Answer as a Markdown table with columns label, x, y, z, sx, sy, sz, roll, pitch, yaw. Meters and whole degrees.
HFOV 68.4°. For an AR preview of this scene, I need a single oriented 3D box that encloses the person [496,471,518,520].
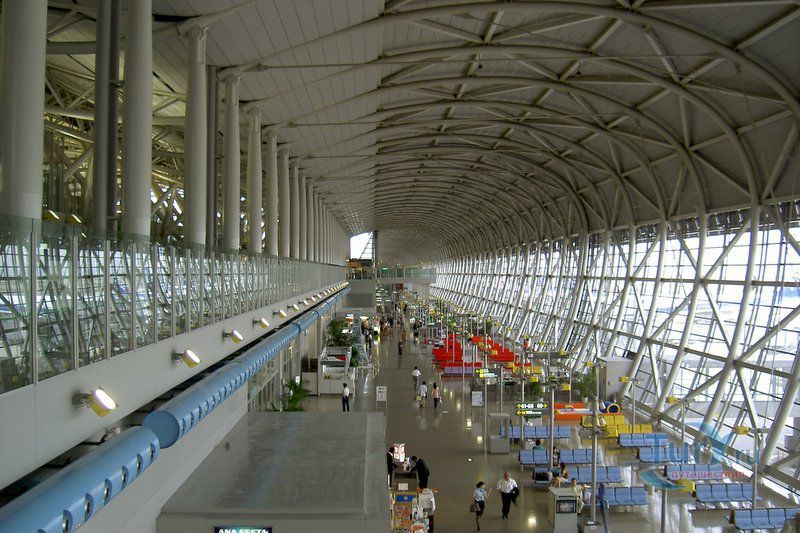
| label | x | y | z | sx | sy | sz | roll | pitch | yaw |
| --- | --- | --- | --- | --- | --- | --- | --- | --- | --- |
| person | 3.634 | 7.726 | 19.870 | 0.696 | 0.472 | 1.508 | 4 | -85 | 30 |

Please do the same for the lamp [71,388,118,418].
| label | x | y | z | sx | sy | sz | roll | pitch | yaw |
| --- | --- | --- | --- | --- | --- | --- | --- | --- | --- |
| lamp | -4.905 | 2.179 | 9.484 | 0.514 | 0.190 | 0.359 | 5 | -30 | 49 |

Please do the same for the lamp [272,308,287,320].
| label | x | y | z | sx | sy | sz | roll | pitch | yaw |
| --- | --- | --- | --- | --- | --- | --- | --- | --- | --- |
| lamp | -4.204 | 1.655 | 20.438 | 0.660 | 0.243 | 0.478 | -5 | -10 | 41 |

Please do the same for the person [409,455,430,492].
| label | x | y | z | sx | sy | sz | roll | pitch | yaw |
| --- | --- | --- | --- | --- | --- | --- | --- | --- | --- |
| person | 0.729 | 7.452 | 21.232 | 0.665 | 0.498 | 1.281 | -11 | -88 | -10 |

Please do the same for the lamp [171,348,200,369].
| label | x | y | z | sx | sy | sz | roll | pitch | yaw |
| --- | --- | --- | --- | --- | --- | --- | --- | --- | --- |
| lamp | -4.480 | 1.894 | 12.243 | 0.420 | 0.150 | 0.337 | -21 | -54 | 14 |

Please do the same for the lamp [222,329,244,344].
| label | x | y | z | sx | sy | sz | roll | pitch | yaw |
| --- | --- | --- | --- | --- | --- | --- | --- | --- | --- |
| lamp | -4.243 | 1.803 | 15.040 | 0.402 | 0.365 | 0.243 | 14 | -8 | 29 |

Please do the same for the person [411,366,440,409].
| label | x | y | z | sx | sy | sz | roll | pitch | yaw |
| --- | --- | --- | --- | --- | --- | --- | --- | --- | --- |
| person | 1.574 | 7.613 | 36.608 | 1.468 | 0.650 | 1.944 | 1 | -84 | 16 |
